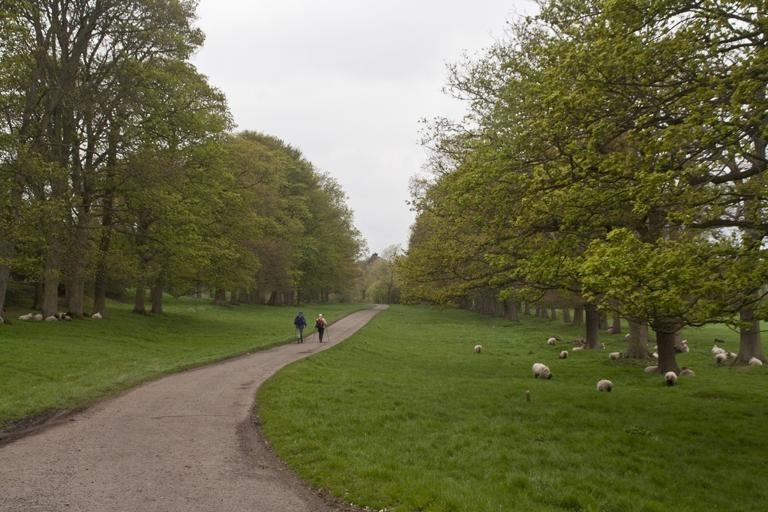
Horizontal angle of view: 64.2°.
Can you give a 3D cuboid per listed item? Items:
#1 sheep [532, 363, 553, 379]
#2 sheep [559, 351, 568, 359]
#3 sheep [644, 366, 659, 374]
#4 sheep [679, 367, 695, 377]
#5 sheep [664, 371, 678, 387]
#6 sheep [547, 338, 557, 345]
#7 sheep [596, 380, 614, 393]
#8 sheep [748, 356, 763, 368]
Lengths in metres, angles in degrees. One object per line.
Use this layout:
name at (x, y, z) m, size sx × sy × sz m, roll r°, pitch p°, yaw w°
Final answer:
sheep at (9.861, 7.198, 38.220) m, size 1.063 × 0.766 × 1.476 m, roll 2°, pitch -1°, yaw -42°
sheep at (13.496, 7.441, 45.927) m, size 0.485 × 0.364 × 0.730 m, roll 0°, pitch -23°, yaw 2°
sheep at (16.704, 7.039, 38.253) m, size 0.766 × 0.470 × 1.195 m, roll 2°, pitch -1°, yaw 19°
sheep at (18.827, 7.197, 38.035) m, size 0.503 × 0.646 × 0.951 m, roll 3°, pitch -7°, yaw 17°
sheep at (16.625, 7.074, 35.302) m, size 0.519 × 0.543 × 1.012 m, roll -3°, pitch -8°, yaw 16°
sheep at (15.035, 7.650, 54.826) m, size 0.543 × 0.438 × 0.868 m, roll 0°, pitch -18°, yaw 3°
sheep at (12.438, 7.354, 34.643) m, size 0.904 × 0.581 × 0.487 m, roll -5°, pitch 2°, yaw -4°
sheep at (24.128, 6.816, 39.525) m, size 1.126 × 0.563 × 0.794 m, roll 2°, pitch 0°, yaw -24°
